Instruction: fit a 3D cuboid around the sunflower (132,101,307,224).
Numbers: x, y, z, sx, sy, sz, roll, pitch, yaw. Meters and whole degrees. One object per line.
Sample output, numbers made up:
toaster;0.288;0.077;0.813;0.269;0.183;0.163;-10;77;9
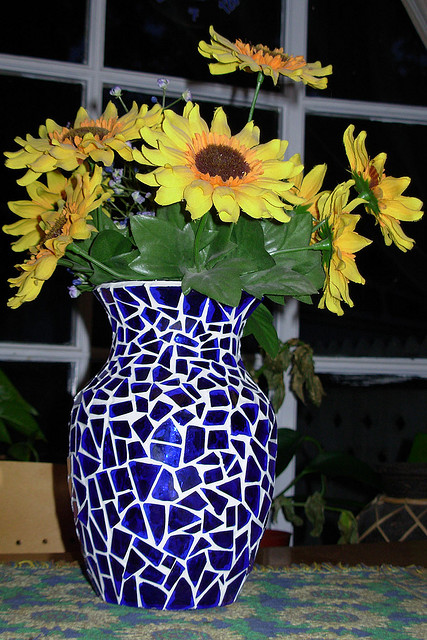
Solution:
sunflower;0.006;-0.134;0.617;0.144;0.121;0.089;3;-4;6

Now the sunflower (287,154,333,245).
sunflower;0.099;-0.119;0.738;0.030;0.090;0.047;-2;11;-6

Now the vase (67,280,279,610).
vase;-0.035;0.107;0.633;0.172;0.278;0.075;3;-4;-1

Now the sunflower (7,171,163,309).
sunflower;-0.108;-0.062;0.669;0.087;0.116;0.134;1;1;-39

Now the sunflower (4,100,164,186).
sunflower;-0.121;-0.153;0.683;0.108;0.025;0.103;-19;21;-18

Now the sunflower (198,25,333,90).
sunflower;0.053;-0.244;0.700;0.134;0.026;0.122;9;6;-7

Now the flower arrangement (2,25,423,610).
flower arrangement;0.015;0.009;0.795;0.423;0.513;0.341;0;-5;23
